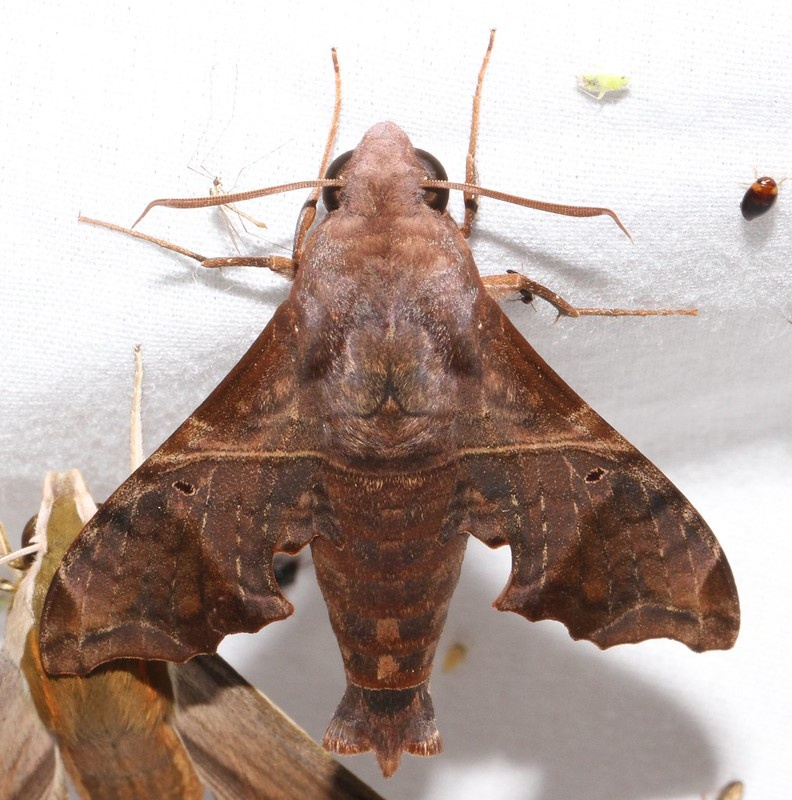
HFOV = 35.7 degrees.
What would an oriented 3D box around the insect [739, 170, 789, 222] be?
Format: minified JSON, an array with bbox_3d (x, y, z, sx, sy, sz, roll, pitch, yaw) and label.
[{"bbox_3d":[1.028,-0.564,3.458,0.112,0.123,0.041,3,15,16],"label":"insect"}]

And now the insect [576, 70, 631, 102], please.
[{"bbox_3d":[0.580,-0.854,3.388,0.103,0.076,0.030,-1,34,5],"label":"insect"}]
